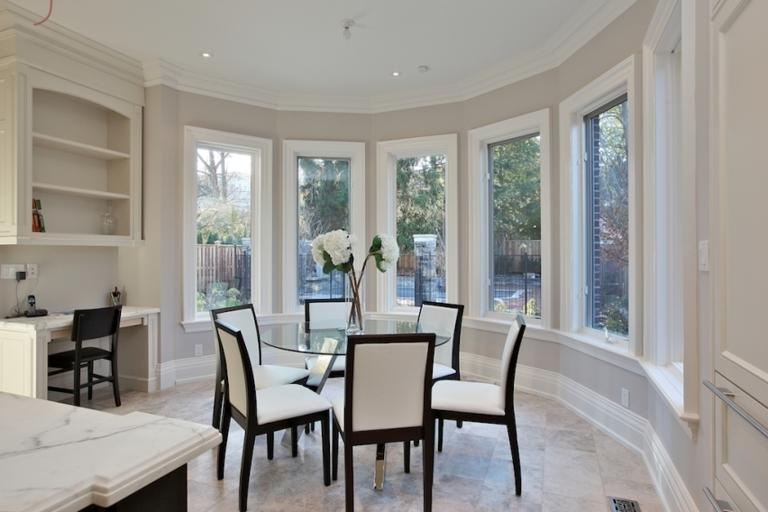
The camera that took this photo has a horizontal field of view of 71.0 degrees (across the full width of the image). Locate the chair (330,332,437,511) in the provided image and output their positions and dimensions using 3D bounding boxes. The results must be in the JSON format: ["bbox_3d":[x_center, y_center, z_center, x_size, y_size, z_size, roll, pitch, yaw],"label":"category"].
[{"bbox_3d":[0.023,1.054,3.476,0.585,1.083,0.372,1,13,3],"label":"chair"}]

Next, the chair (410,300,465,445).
[{"bbox_3d":[0.332,0.923,4.802,0.581,1.011,0.568,-1,3,-38],"label":"chair"}]

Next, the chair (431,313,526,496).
[{"bbox_3d":[0.691,1.060,4.147,0.743,1.214,0.747,1,1,19],"label":"chair"}]

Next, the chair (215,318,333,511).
[{"bbox_3d":[-0.825,1.043,3.892,0.797,1.161,0.786,-5,13,-19],"label":"chair"}]

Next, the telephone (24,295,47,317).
[{"bbox_3d":[-3.220,0.458,4.975,0.100,0.183,0.186,-4,-4,35],"label":"telephone"}]

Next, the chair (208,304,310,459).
[{"bbox_3d":[-0.896,1.086,4.179,0.745,1.180,0.749,1,7,-20],"label":"chair"}]
